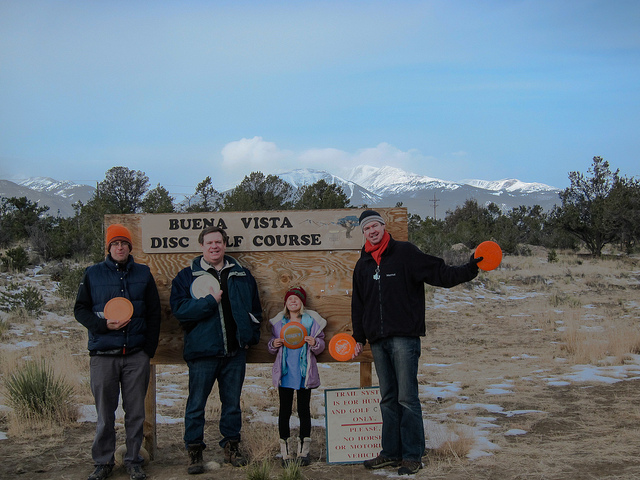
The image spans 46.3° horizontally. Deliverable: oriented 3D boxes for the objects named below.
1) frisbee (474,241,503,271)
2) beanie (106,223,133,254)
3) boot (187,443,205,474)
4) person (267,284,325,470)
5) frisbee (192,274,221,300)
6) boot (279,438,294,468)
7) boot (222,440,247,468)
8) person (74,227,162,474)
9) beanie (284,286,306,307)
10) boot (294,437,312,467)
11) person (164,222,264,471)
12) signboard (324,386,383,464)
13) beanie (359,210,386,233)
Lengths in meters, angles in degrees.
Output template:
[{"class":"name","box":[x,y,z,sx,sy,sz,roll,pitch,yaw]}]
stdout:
[{"class":"frisbee","box":[2.472,0.223,10.954,0.380,0.416,0.462,-1,-2,20]},{"class":"beanie","box":[-3.023,-0.028,11.239,0.288,0.395,0.406,3,-19,-34]},{"class":"boot","box":[-1.851,3.229,11.081,0.161,0.351,0.507,-1,-40,-2]},{"class":"person","box":[-0.351,2.043,11.473,0.881,2.712,1.381,0,-2,-16]},{"class":"frisbee","box":[-1.702,0.691,11.215,0.420,0.351,0.234,0,-2,-10]},{"class":"boot","box":[-0.496,3.153,11.262,0.209,0.389,0.335,0,-2,-3]},{"class":"boot","box":[-1.302,3.199,11.297,0.433,0.511,0.222,0,-2,7]},{"class":"person","box":[-2.959,1.612,11.018,1.164,3.587,0.455,0,-2,-19]},{"class":"beanie","box":[-0.386,0.838,11.589,0.203,0.278,0.302,12,-22,11]},{"class":"boot","box":[-0.265,3.184,11.291,0.185,0.451,0.420,-8,-10,19]},{"class":"person","box":[-1.579,1.596,11.441,1.384,3.639,0.716,0,-2,-12]},{"class":"signboard","box":[0.510,2.862,11.464,0.973,1.190,0.042,2,-11,-12]},{"class":"beanie","box":[0.768,-0.309,11.295,0.379,0.303,0.306,-1,-2,11]}]
